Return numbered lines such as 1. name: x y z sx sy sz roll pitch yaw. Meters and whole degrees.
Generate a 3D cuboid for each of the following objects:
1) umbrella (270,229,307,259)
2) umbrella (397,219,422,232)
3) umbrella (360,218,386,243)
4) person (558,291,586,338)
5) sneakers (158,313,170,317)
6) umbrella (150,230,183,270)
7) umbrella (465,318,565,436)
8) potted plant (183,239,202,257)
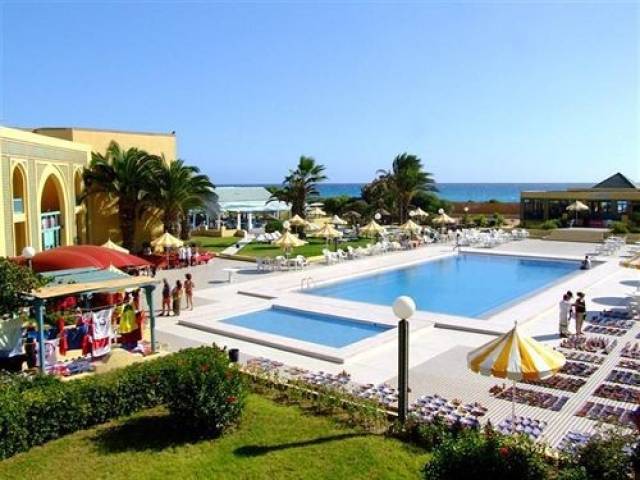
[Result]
1. umbrella: -1.861 0.314 30.331 1.794 1.433 1.795 -1 4 13
2. umbrella: 6.892 -1.030 37.300 1.218 0.674 1.252 0 3 -8
3. umbrella: 4.124 -0.636 37.708 1.936 1.572 1.897 0 4 7
4. person: 8.439 2.291 16.455 0.725 1.449 2.180 3 9 28
5. sneakers: -5.955 2.860 18.736 0.399 0.178 0.149 5 1 6
6. umbrella: -8.805 0.360 28.113 1.574 1.811 1.609 9 14 26
7. umbrella: 4.085 2.845 10.198 1.652 2.515 1.783 -12 15 -11
8. potted plant: -8.014 0.542 31.085 1.193 1.323 1.272 1 2 43
